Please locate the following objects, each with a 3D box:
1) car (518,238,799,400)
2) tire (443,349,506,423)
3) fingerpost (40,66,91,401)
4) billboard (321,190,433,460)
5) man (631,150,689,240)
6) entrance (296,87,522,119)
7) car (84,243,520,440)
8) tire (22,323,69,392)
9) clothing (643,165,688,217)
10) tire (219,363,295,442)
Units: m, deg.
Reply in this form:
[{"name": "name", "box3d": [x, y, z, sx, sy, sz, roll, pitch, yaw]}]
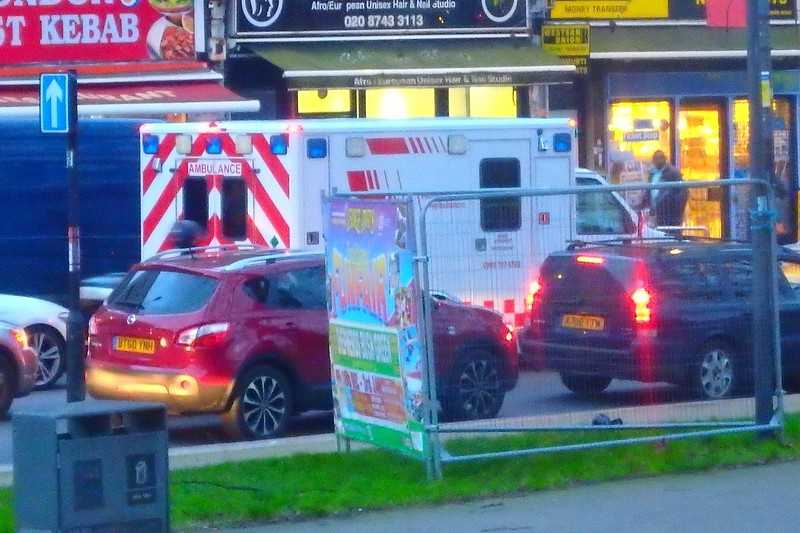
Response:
[{"name": "car", "box3d": [2.618, 0.555, 15.069, 2.615, 1.141, 1.445, -7, 7, -34]}, {"name": "tire", "box3d": [0.764, 1.259, 14.400, 0.636, 0.687, 0.229, -7, 11, -32]}, {"name": "fingerpost", "box3d": [-4.042, -0.397, 17.073, 0.729, 4.345, 0.462, 2, -16, -23]}, {"name": "billboard", "box3d": [-0.191, 0.603, 14.568, 0.365, 2.732, 1.454, -4, 3, -35]}, {"name": "man", "box3d": [2.985, -0.702, 15.977, 0.481, 1.270, 0.373, -8, -23, 36]}, {"name": "entrance", "box3d": [0.220, -3.107, 26.497, 4.185, 0.646, 0.372, -3, 3, -8]}, {"name": "car", "box3d": [-1.440, 1.053, 16.944, 4.229, 1.810, 2.319, -3, 3, -29]}, {"name": "tire", "box3d": [-5.028, 1.252, 19.345, 0.282, 0.842, 0.803, -6, -13, 28]}, {"name": "clothing", "box3d": [2.970, -0.895, 16.027, 0.498, 0.563, 0.298, 8, 5, 10]}, {"name": "tire", "box3d": [-1.536, 1.620, 16.471, 0.878, 0.968, 0.296, 9, 4, 29]}]
